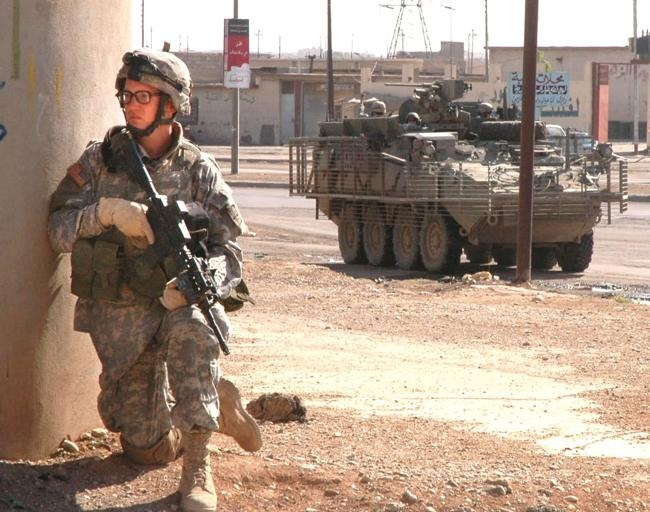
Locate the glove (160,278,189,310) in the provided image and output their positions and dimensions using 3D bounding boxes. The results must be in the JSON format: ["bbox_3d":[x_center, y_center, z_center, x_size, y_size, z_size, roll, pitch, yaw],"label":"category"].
[{"bbox_3d":[-0.673,0.171,4.800,0.125,0.210,0.113,-2,13,-4],"label":"glove"}]

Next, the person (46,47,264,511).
[{"bbox_3d":[-0.753,0.046,5.079,1.045,2.087,0.712,6,9,35],"label":"person"}]

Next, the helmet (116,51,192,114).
[{"bbox_3d":[-0.818,-0.837,5.130,0.311,0.264,0.276,4,6,-35],"label":"helmet"}]

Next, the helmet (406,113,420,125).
[{"bbox_3d":[1.382,-2.193,16.660,0.154,0.179,0.207,1,-15,10],"label":"helmet"}]

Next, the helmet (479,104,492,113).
[{"bbox_3d":[2.531,-2.391,16.826,0.153,0.136,0.132,4,-10,-2],"label":"helmet"}]

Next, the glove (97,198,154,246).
[{"bbox_3d":[-0.913,-0.171,4.898,0.279,0.197,0.106,4,8,21],"label":"glove"}]

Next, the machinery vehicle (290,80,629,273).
[{"bbox_3d":[1.891,-0.932,15.723,2.543,2.636,4.590,-2,3,-29],"label":"machinery vehicle"}]
